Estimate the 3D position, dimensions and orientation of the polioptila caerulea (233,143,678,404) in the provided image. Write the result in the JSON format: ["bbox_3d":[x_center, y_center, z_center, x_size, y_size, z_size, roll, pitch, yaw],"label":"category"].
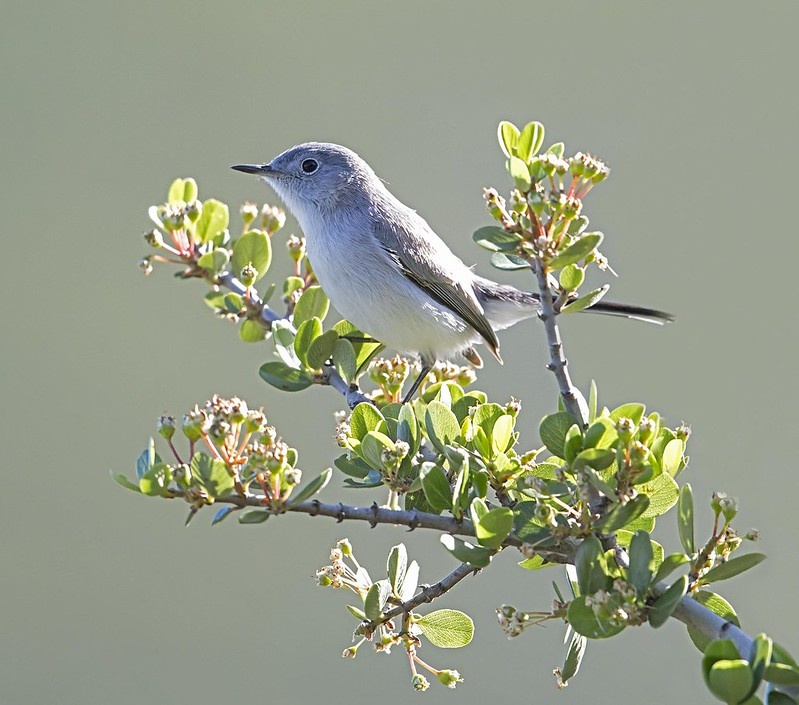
[{"bbox_3d":[0.103,-0.124,2.491,0.740,0.557,0.281,2,-16,-19],"label":"polioptila caerulea"}]
